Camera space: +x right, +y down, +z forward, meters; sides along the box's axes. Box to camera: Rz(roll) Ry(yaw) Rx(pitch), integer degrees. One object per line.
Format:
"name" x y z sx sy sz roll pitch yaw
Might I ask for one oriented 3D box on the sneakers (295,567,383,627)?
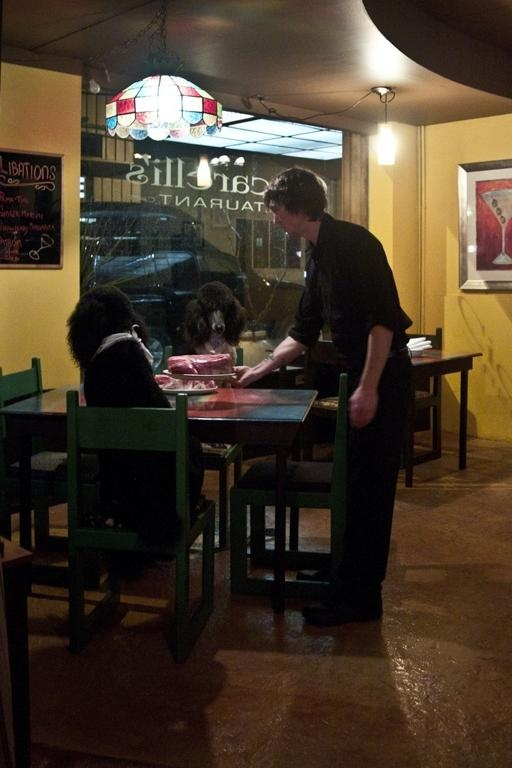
"sneakers" 0.282 0.785 2.446 0.367 0.278 0.139 5 -3 7

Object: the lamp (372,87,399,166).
"lamp" 1.061 -2.104 5.264 0.197 0.624 0.200 1 13 19

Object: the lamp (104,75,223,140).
"lamp" -0.423 -1.308 3.107 0.543 0.217 0.522 0 3 -23

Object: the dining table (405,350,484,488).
"dining table" 1.431 0.273 4.859 0.780 0.795 0.733 2 11 28

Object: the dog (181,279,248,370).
"dog" -0.232 -0.341 3.661 0.320 0.472 0.313 -7 26 -24
